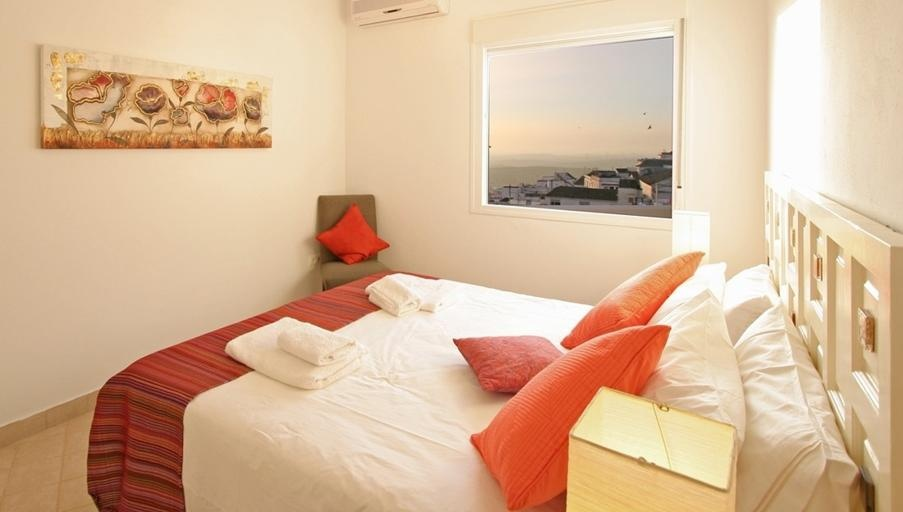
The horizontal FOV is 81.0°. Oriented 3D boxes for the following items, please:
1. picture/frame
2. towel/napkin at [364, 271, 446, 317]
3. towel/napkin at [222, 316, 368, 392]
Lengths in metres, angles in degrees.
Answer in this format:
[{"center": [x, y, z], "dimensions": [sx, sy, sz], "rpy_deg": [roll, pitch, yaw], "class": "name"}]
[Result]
[{"center": [1.261, -1.267, 4.926], "dimensions": [2.024, 1.496, 0.082], "rpy_deg": [2, 3, 24], "class": "picture/frame"}, {"center": [-0.284, 0.268, 3.733], "dimensions": [0.382, 0.109, 0.367], "rpy_deg": [12, 16, 40], "class": "towel/napkin"}, {"center": [-0.913, 0.541, 2.954], "dimensions": [0.534, 0.147, 0.418], "rpy_deg": [14, 21, 28], "class": "towel/napkin"}]
